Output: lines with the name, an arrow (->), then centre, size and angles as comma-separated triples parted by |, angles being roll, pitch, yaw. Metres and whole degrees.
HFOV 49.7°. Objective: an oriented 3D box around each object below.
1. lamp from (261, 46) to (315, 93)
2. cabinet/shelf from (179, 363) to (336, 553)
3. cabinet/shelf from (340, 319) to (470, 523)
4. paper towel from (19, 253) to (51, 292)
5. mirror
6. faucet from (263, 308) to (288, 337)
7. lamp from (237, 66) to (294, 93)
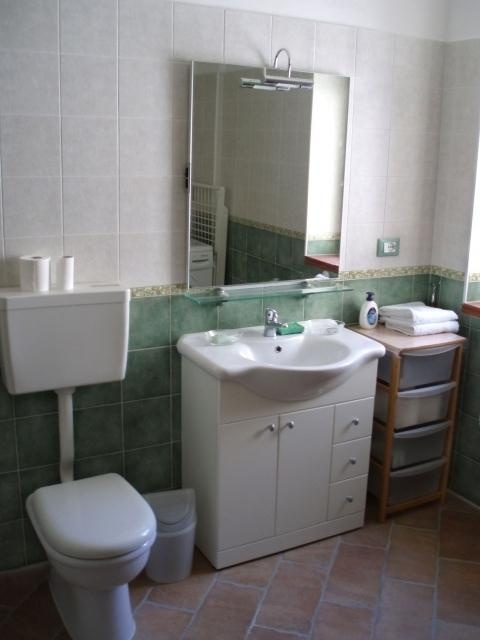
lamp -> 0.175, -0.942, 1.962 | 0.193, 0.160, 0.068 | -2, 7, -14
cabinet/shelf -> -0.041, 0.526, 2.022 | 0.280, 0.740, 0.431 | -3, 10, -25
cabinet/shelf -> 0.740, 0.425, 2.435 | 0.447, 0.837, 0.475 | -13, 21, -35
paper towel -> -0.631, -0.138, 1.648 | 0.091, 0.118, 0.101 | 5, 26, -4
mirror -> 0.096, -0.574, 2.016 | 0.741, 1.029, 0.076 | -7, 19, -25
faucet -> 0.132, 0.010, 2.069 | 0.061, 0.145, 0.131 | -7, 13, -31
lamp -> 0.117, -0.886, 1.912 | 0.251, 0.084, 0.049 | -4, 10, -26
